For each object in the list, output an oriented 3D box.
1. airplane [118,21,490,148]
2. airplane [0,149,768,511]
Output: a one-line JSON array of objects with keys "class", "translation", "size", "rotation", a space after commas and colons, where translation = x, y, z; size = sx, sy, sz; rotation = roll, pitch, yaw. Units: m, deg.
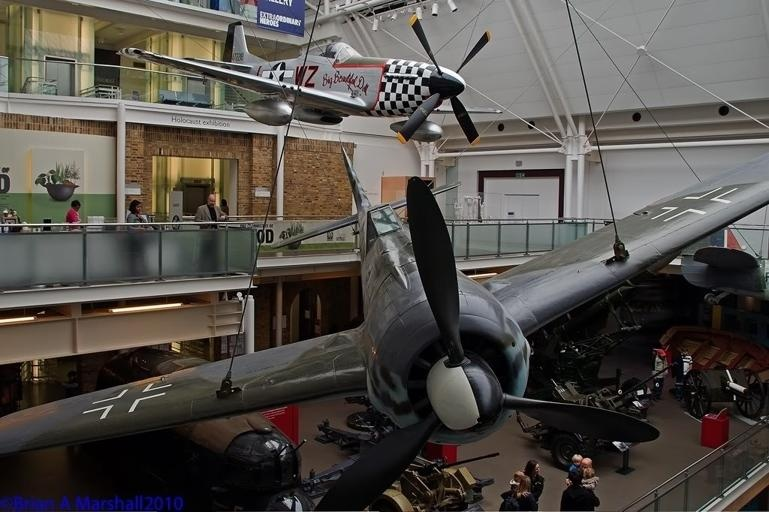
[{"class": "airplane", "translation": [-1.274, -3.730, 13.050], "size": [6.812, 2.989, 3.915], "rotation": [3, 4, 27]}, {"class": "airplane", "translation": [0.277, 0.955, 9.162], "size": [8.750, 2.799, 6.295], "rotation": [-17, 15, -8]}]
